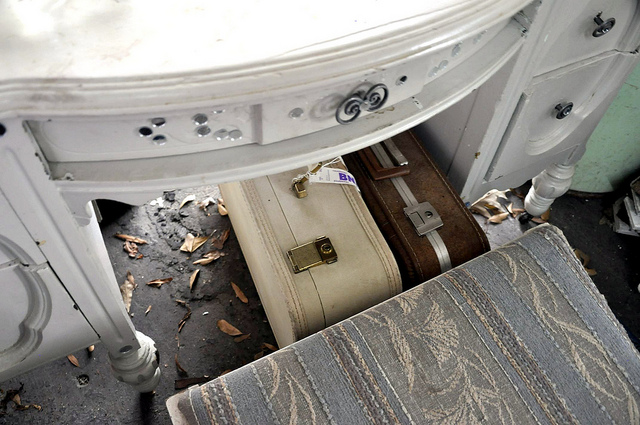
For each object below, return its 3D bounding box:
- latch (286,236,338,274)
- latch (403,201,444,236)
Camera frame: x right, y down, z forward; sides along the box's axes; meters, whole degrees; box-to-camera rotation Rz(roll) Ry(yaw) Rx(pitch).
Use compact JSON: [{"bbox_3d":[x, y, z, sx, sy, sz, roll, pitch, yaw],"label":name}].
[{"bbox_3d":[-0.020,0.091,1.041,0.109,0.026,0.066,-17,71,-10],"label":"latch"},{"bbox_3d":[0.264,0.011,1.121,0.079,0.018,0.078,-22,65,-15],"label":"latch"}]
